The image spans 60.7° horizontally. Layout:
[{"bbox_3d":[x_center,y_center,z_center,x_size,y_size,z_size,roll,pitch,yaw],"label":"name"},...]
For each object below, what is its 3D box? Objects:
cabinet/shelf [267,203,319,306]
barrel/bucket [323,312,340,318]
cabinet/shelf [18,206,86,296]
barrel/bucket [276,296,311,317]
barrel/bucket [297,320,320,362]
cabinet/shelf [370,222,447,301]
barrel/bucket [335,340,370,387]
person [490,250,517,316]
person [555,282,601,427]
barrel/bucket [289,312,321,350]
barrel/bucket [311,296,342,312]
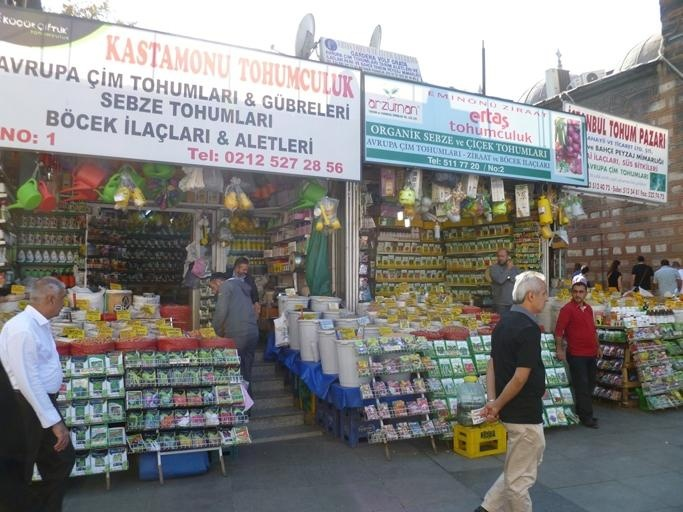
[{"bbox_3d":[-0.758,-0.034,9.444,0.488,1.458,1.548,1,-10,-12],"label":"cabinet/shelf"},{"bbox_3d":[-0.132,0.790,7.855,0.217,0.099,0.139,0,6,-2],"label":"barrel/bucket"},{"bbox_3d":[-4.585,-0.112,9.160,1.327,1.661,0.487,0,-3,-13],"label":"cabinet/shelf"},{"bbox_3d":[-0.680,0.711,8.286,0.323,0.214,0.271,0,-2,-10],"label":"barrel/bucket"},{"bbox_3d":[-0.397,1.055,7.275,0.201,0.523,0.449,-3,7,-28],"label":"barrel/bucket"},{"bbox_3d":[1.189,0.122,10.780,1.318,1.251,0.525,1,-4,-15],"label":"cabinet/shelf"},{"bbox_3d":[0.132,1.195,6.654,0.450,0.453,0.462,2,1,0],"label":"barrel/bucket"},{"bbox_3d":[2.739,0.393,9.395,0.324,1.039,0.312,-12,35,21],"label":"person"},{"bbox_3d":[2.962,1.195,7.320,0.556,1.801,0.387,1,6,14],"label":"person"},{"bbox_3d":[-0.482,0.995,7.469,0.417,0.577,0.603,-1,0,-8],"label":"barrel/bucket"},{"bbox_3d":[-0.218,0.673,8.087,0.395,0.176,0.414,0,6,0],"label":"barrel/bucket"}]
